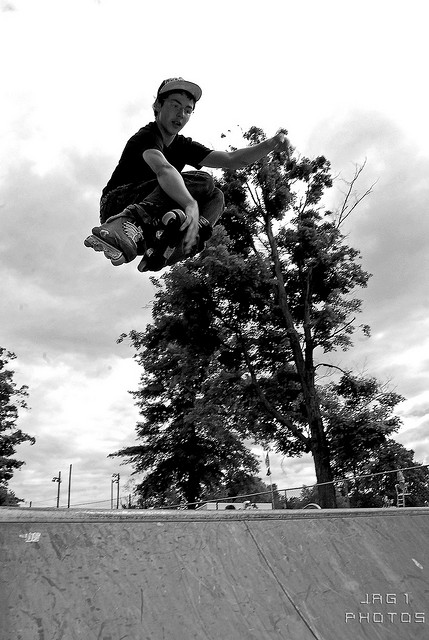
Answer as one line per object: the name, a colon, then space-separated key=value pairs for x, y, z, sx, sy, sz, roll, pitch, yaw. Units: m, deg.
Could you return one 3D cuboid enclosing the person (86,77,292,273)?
person: x=-0.142 y=-1.045 z=3.615 sx=1.280 sy=1.428 sz=0.734 roll=0 pitch=-12 yaw=11
